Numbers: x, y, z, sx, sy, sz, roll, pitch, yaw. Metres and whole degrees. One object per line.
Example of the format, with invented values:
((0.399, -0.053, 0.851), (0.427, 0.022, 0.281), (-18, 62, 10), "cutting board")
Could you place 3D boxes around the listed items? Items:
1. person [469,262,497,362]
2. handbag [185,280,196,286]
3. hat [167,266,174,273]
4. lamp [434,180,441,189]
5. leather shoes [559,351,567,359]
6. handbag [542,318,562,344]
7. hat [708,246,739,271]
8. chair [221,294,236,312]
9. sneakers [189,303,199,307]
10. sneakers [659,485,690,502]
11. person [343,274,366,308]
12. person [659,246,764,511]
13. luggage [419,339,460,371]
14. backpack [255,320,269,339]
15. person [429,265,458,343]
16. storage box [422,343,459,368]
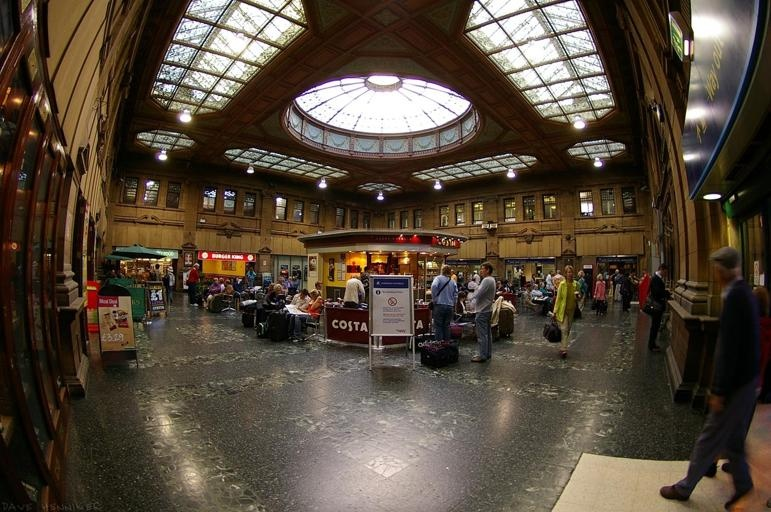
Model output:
((2.257, 1.287, 10.873), (0.438, 2.275, 1.221), (2, 6, 13), "person")
((-9.017, 1.257, 22.033), (0.606, 0.179, 0.610), (-4, -14, 23), "handbag")
((-13.009, 0.818, 28.652), (0.302, 0.089, 0.301), (26, -3, 2), "hat")
((3.642, -4.969, 32.860), (0.563, 0.461, 1.005), (8, 5, 3), "lamp")
((4.122, 2.304, 10.937), (0.106, 0.131, 0.311), (-3, -25, 14), "leather shoes")
((3.802, 1.676, 10.737), (0.361, 0.504, 0.389), (3, 6, 26), "handbag")
((3.893, 0.029, 5.412), (0.213, 0.184, 0.300), (0, 36, 28), "hat")
((-6.939, 2.101, 21.137), (0.720, 0.816, 0.605), (1, 4, -21), "chair")
((-8.789, 2.270, 21.883), (0.196, 0.166, 0.490), (-35, 31, -33), "sneakers")
((3.331, 2.746, 5.462), (0.159, 0.120, 0.281), (1, -3, -44), "sneakers")
((-0.820, 0.992, 12.763), (0.520, 0.744, 0.525), (0, 6, -7), "person")
((3.780, 1.373, 5.344), (0.741, 2.917, 0.521), (4, 7, 32), "person")
((1.108, 2.061, 10.212), (0.506, 0.385, 0.756), (-5, -9, 43), "luggage")
((-3.482, 2.086, 13.360), (0.432, 0.464, 0.485), (2, -4, 37), "backpack")
((1.283, 1.226, 11.126), (0.762, 2.039, 0.571), (12, -12, -36), "person")
((1.105, 2.112, 10.196), (0.488, 0.366, 0.711), (-4, -7, 42), "storage box")
